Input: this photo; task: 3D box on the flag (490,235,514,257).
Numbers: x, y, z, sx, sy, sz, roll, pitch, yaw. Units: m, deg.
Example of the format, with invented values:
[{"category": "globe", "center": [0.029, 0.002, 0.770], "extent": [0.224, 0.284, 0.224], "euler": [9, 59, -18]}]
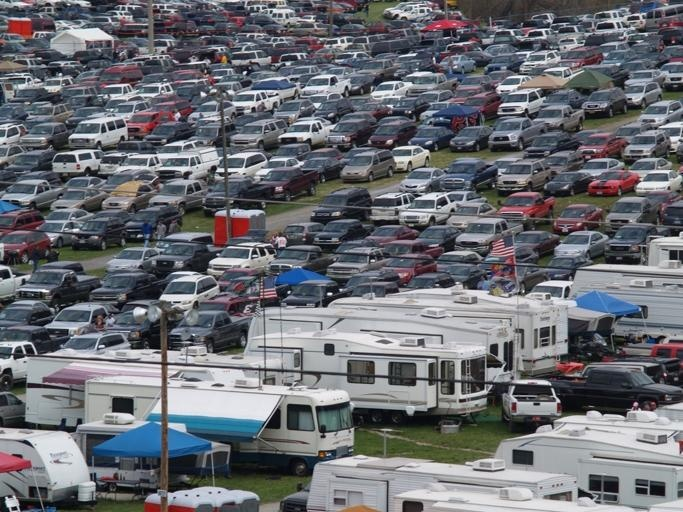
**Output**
[{"category": "flag", "center": [7.718, -0.511, 104.781], "extent": [1.242, 0.978, 0.206], "euler": [2, -7, 43]}]

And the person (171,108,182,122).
[{"category": "person", "center": [-10.196, -8.869, 137.052], "extent": [0.736, 0.726, 0.287], "euler": [-10, -22, -6]}]

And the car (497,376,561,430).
[{"category": "car", "center": [8.016, 6.318, 94.085], "extent": [1.476, 2.147, 2.693], "euler": [1, -2, -42]}]

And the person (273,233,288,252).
[{"category": "person", "center": [-3.051, -0.804, 113.298], "extent": [0.593, 0.984, 0.280], "euler": [1, -38, -1]}]

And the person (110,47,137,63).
[{"category": "person", "center": [-16.338, -15.073, 166.024], "extent": [1.528, 0.632, 1.848], "euler": [-4, 12, 1]}]
